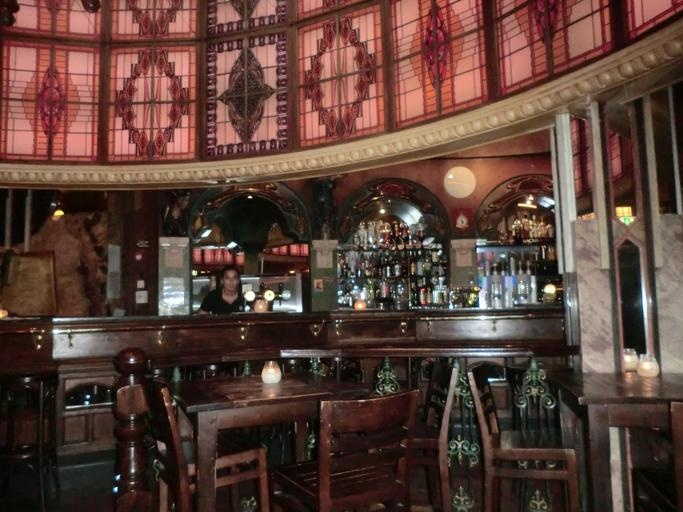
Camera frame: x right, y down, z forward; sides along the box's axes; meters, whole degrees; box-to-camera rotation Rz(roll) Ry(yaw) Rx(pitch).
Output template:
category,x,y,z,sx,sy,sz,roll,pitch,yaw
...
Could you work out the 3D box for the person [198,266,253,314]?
category,x,y,z,sx,sy,sz,roll,pitch,yaw
person,-1.435,0.485,7.899,0.793,0.742,0.433,-1,9,-23
